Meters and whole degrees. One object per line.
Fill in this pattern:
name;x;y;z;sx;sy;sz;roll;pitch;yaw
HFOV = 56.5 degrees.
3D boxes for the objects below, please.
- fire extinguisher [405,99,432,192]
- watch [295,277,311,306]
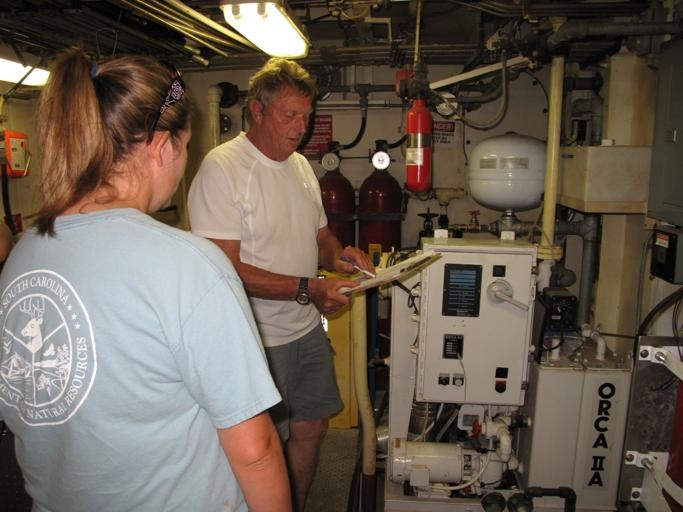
fire extinguisher;0.410;-0.589;3.369;0.147;0.484;0.218;5;3;7
watch;-0.169;0.155;2.830;0.060;0.114;0.108;2;45;3
